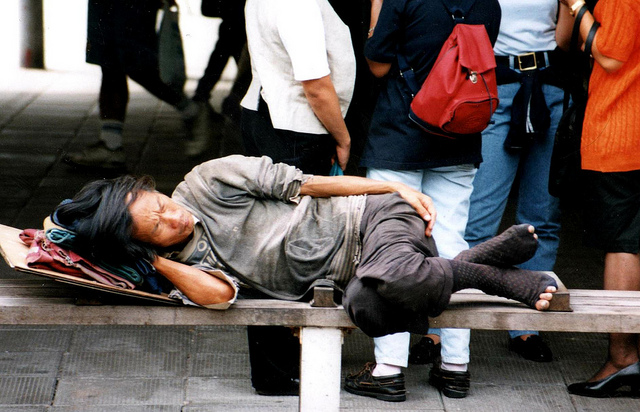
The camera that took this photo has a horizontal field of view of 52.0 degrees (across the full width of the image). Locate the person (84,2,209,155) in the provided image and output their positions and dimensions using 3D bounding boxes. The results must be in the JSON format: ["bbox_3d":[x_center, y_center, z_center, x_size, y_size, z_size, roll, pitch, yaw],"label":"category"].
[{"bbox_3d":[-1.465,-1.032,5.336,0.802,1.188,0.439,-9,43,-13],"label":"person"}]

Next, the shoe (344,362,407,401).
[{"bbox_3d":[0.337,1.126,4.284,0.490,0.194,0.194,-4,2,39],"label":"shoe"}]

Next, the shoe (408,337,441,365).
[{"bbox_3d":[0.785,0.998,4.605,0.324,0.119,0.110,-9,18,-31],"label":"shoe"}]

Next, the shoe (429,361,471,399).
[{"bbox_3d":[0.851,1.135,4.325,0.144,0.136,0.337,-1,8,-12],"label":"shoe"}]

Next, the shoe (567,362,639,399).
[{"bbox_3d":[1.869,1.130,4.300,0.565,0.206,0.171,1,-1,13],"label":"shoe"}]

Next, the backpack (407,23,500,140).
[{"bbox_3d":[0.809,-0.741,3.913,0.415,0.609,0.628,31,28,35],"label":"backpack"}]

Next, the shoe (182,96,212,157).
[{"bbox_3d":[-1.027,-0.664,5.595,0.220,0.524,0.408,6,23,14],"label":"shoe"}]

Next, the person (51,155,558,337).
[{"bbox_3d":[-0.096,0.173,3.696,2.226,0.634,1.268,-2,-2,-7],"label":"person"}]

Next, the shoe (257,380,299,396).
[{"bbox_3d":[-0.265,1.167,4.242,0.352,0.084,0.120,2,-11,-6],"label":"shoe"}]

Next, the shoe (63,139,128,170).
[{"bbox_3d":[-1.875,-0.465,5.696,0.694,0.252,0.215,7,17,23],"label":"shoe"}]
